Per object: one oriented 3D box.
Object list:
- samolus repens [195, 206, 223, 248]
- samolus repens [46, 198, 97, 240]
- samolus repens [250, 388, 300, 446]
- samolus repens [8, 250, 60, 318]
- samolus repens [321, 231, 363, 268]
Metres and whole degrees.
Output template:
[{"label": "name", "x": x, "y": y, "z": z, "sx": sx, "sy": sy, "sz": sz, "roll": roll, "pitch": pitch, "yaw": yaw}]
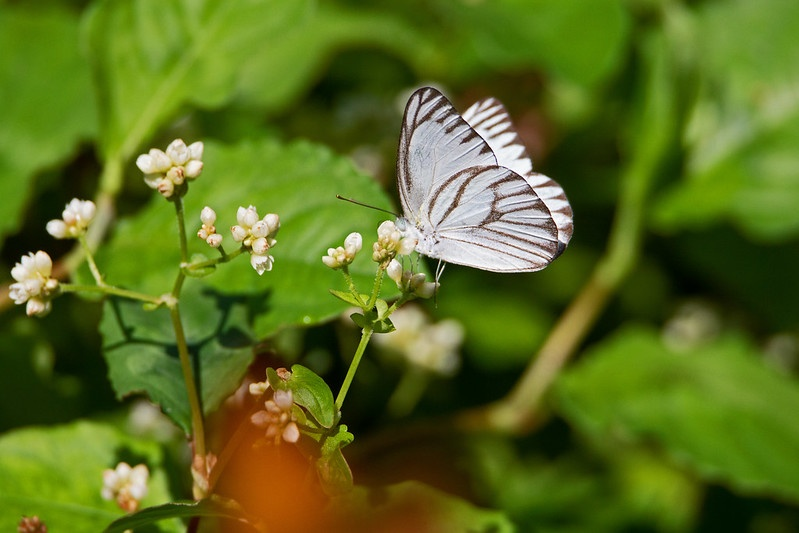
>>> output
[{"label": "samolus repens", "x": -0.648, "y": -0.130, "z": 2.722, "sx": 0.093, "sy": 0.060, "sz": 0.142, "roll": -19, "pitch": 94, "yaw": 36}, {"label": "samolus repens", "x": -1.058, "y": -0.165, "z": 2.569, "sx": 0.129, "sy": 0.065, "sz": 0.153, "roll": -47, "pitch": 40, "yaw": 11}, {"label": "samolus repens", "x": -0.369, "y": 0.461, "z": 2.378, "sx": 0.129, "sy": 0.131, "sz": 0.133, "roll": -9, "pitch": 53, "yaw": 1}, {"label": "samolus repens", "x": -1.128, "y": 0.051, "z": 2.537, "sx": 0.151, "sy": 0.103, "sz": 0.205, "roll": -35, "pitch": 64, "yaw": 28}, {"label": "samolus repens", "x": -0.183, "y": -0.038, "z": 2.564, "sx": 0.139, "sy": 0.066, "sz": 0.093, "roll": -60, "pitch": 13, "yaw": -15}]
